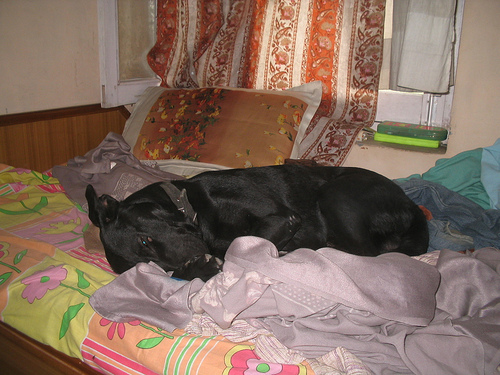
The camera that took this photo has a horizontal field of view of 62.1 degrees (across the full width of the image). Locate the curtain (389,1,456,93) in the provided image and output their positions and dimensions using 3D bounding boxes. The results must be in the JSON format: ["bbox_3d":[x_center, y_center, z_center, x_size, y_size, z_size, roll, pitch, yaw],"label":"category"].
[{"bbox_3d":[0.982,-0.784,2.326,0.359,0.485,0.142,14,15,36],"label":"curtain"}]

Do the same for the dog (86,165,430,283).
[{"bbox_3d":[0.015,0.101,1.597,1.153,0.394,0.489,-4,-13,4],"label":"dog"}]

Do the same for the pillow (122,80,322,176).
[{"bbox_3d":[-0.214,-0.279,2.314,0.849,0.669,0.142,5,-36,22],"label":"pillow"}]
